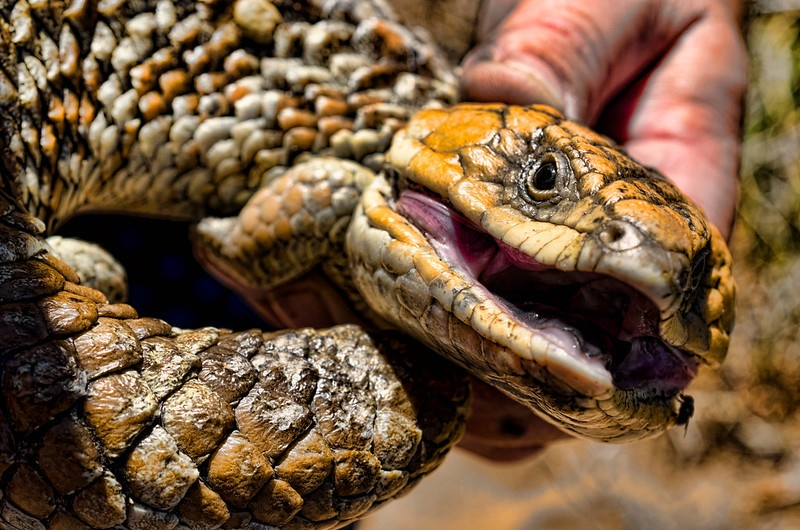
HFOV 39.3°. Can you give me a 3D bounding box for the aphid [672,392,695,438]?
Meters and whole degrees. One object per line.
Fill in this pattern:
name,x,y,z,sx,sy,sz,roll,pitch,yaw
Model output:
aphid,0.554,0.293,2.182,0.023,0.072,0.080,-3,69,25
